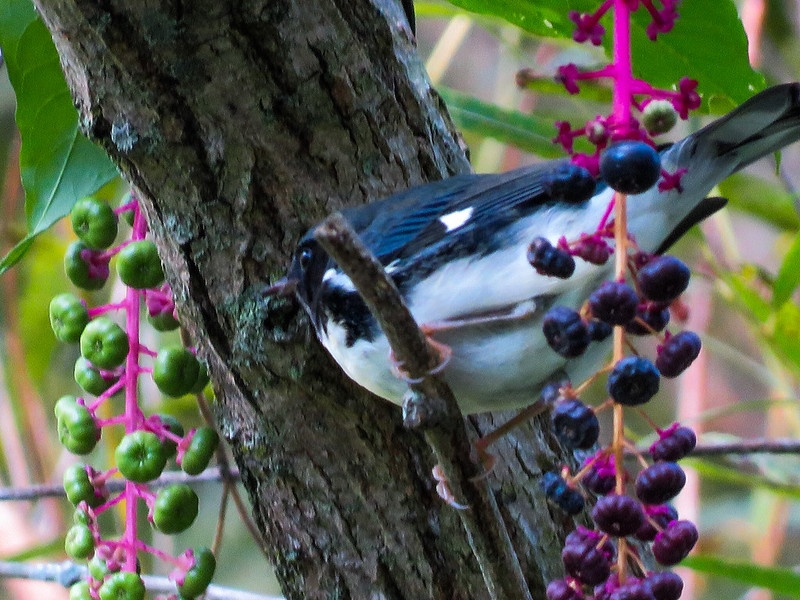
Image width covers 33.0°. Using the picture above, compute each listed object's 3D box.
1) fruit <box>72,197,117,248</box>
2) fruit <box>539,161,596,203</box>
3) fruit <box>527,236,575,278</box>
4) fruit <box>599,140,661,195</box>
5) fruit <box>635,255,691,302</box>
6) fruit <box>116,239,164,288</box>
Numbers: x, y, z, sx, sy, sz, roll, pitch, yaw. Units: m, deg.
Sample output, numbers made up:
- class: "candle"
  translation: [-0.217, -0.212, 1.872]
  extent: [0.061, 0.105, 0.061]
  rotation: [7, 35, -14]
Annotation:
- class: "fruit"
  translation: [-0.851, -0.213, 3.801]
  extent: [0.103, 0.160, 0.138]
  rotation: [-5, 11, 4]
- class: "fruit"
  translation: [0.386, -0.264, 3.080]
  extent: [0.077, 0.102, 0.051]
  rotation: [12, -5, 2]
- class: "fruit"
  translation: [0.343, -0.091, 3.085]
  extent: [0.098, 0.081, 0.044]
  rotation: [36, -5, -9]
- class: "fruit"
  translation: [0.511, -0.295, 3.000]
  extent: [0.092, 0.122, 0.103]
  rotation: [0, -39, -10]
- class: "fruit"
  translation: [0.586, -0.047, 3.000]
  extent: [0.088, 0.109, 0.056]
  rotation: [25, 12, -12]
- class: "fruit"
  translation: [-0.713, -0.095, 3.700]
  extent: [0.093, 0.148, 0.137]
  rotation: [-6, -51, -5]
